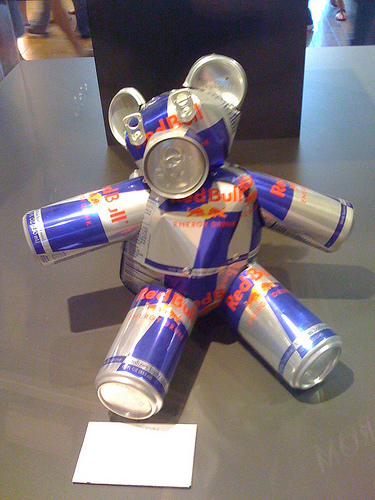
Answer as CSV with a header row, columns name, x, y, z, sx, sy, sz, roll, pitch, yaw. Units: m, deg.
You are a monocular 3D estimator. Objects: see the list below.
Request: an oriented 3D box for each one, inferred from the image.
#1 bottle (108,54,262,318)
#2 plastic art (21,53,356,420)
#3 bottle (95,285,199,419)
name,x,y,z,sx,sy,sz,roll,pitch,yaw
bottle,-0.010,-0.145,1.005,0.339,0.453,0.445,-6,50,-4
plastic art,0.019,-0.041,0.934,0.746,0.580,0.497,-6,32,-4
bottle,-0.078,0.192,0.930,0.139,0.135,0.240,32,49,-14
